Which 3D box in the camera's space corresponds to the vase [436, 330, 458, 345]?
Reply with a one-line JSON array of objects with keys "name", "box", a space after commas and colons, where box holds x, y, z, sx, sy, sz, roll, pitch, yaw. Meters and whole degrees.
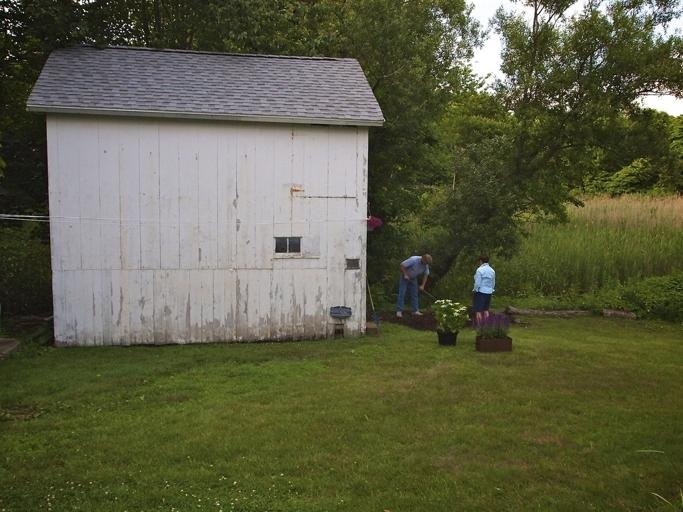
[{"name": "vase", "box": [2.673, 2.065, 19.690, 0.377, 0.267, 0.398, 2, 0, 36]}]

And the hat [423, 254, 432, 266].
[{"name": "hat", "box": [2.521, 0.087, 22.510, 0.189, 0.295, 0.273, 2, -14, -7]}]

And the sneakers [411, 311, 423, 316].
[{"name": "sneakers", "box": [2.269, 1.735, 23.277, 0.338, 0.168, 0.121, -4, 1, 33]}]

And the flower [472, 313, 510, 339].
[{"name": "flower", "box": [3.782, 1.814, 19.462, 0.668, 0.825, 0.585, 3, -7, -19]}]

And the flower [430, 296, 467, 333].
[{"name": "flower", "box": [2.813, 1.532, 20.028, 0.950, 0.864, 1.029, 4, 14, 1]}]
